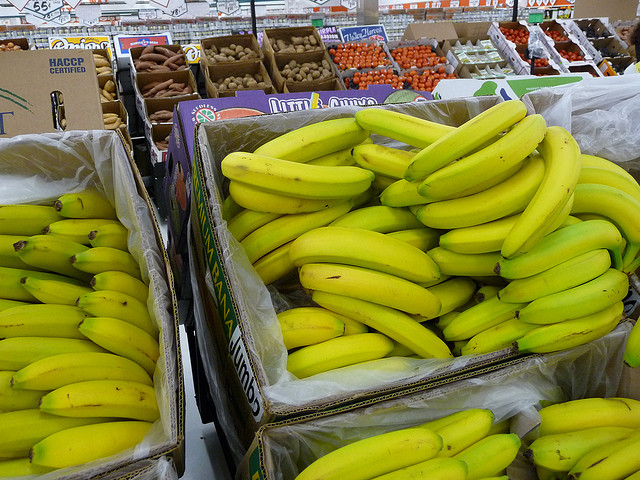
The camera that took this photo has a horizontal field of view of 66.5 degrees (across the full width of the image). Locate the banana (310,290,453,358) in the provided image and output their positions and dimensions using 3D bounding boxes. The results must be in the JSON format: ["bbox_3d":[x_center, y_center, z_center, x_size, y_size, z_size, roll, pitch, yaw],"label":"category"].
[{"bbox_3d":[0.163,0.244,1.414,0.325,0.066,0.083,24,-14,-15],"label":"banana"}]

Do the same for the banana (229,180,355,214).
[{"bbox_3d":[-0.072,-0.113,1.545,0.416,0.112,0.138,0,27,-6],"label":"banana"}]

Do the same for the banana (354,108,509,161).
[{"bbox_3d":[0.377,-0.371,1.540,0.549,0.170,0.144,4,40,10],"label":"banana"}]

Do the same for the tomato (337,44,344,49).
[{"bbox_3d":[0.188,-1.755,4.473,0.058,0.039,0.054,4,23,23],"label":"tomato"}]

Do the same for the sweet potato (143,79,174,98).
[{"bbox_3d":[-1.334,-1.235,4.031,0.294,0.077,0.080,-29,-2,4],"label":"sweet potato"}]

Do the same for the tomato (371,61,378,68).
[{"bbox_3d":[0.483,-1.532,4.294,0.059,0.060,0.060,4,15,17],"label":"tomato"}]

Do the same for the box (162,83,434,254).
[{"bbox_3d":[-0.262,-0.214,2.695,1.424,0.755,0.970,-5,-14,-11],"label":"box"}]

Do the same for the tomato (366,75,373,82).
[{"bbox_3d":[0.426,-1.350,4.130,0.052,0.052,0.035,-10,21,-12],"label":"tomato"}]

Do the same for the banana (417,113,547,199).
[{"bbox_3d":[0.498,-0.212,1.378,0.407,0.137,0.089,-32,-22,-1],"label":"banana"}]

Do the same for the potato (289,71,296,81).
[{"bbox_3d":[-0.216,-1.306,3.942,0.064,0.065,0.033,15,-14,-40],"label":"potato"}]

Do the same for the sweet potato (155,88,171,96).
[{"bbox_3d":[-1.305,-1.198,4.003,0.160,0.041,0.032,-29,-2,-27],"label":"sweet potato"}]

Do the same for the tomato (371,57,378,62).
[{"bbox_3d":[0.487,-1.588,4.331,0.041,0.042,0.041,-10,30,35],"label":"tomato"}]

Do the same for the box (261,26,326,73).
[{"bbox_3d":[-0.201,-1.587,4.281,0.580,0.343,0.574,-9,41,-13],"label":"box"}]

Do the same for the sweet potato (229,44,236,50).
[{"bbox_3d":[-0.748,-1.636,4.181,0.050,0.051,0.027,14,0,9],"label":"sweet potato"}]

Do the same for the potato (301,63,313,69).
[{"bbox_3d":[-0.108,-1.433,4.062,0.063,0.064,0.029,8,-29,-13],"label":"potato"}]

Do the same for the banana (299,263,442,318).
[{"bbox_3d":[0.137,0.151,1.424,0.434,0.118,0.106,8,28,13],"label":"banana"}]

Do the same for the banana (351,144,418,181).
[{"bbox_3d":[0.210,-0.259,1.596,0.198,0.097,0.071,19,37,8],"label":"banana"}]

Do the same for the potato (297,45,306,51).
[{"bbox_3d":[-0.157,-1.648,4.210,0.046,0.030,0.056,2,59,-14],"label":"potato"}]

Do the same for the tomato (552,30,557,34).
[{"bbox_3d":[2.473,-2.165,5.134,0.047,0.015,0.046,-41,33,8],"label":"tomato"}]

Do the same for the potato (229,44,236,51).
[{"bbox_3d":[-0.747,-1.638,4.185,0.058,0.032,0.058,-26,61,-15],"label":"potato"}]

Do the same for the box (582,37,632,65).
[{"bbox_3d":[3.012,-1.977,5.201,0.470,0.166,0.445,-10,58,-23],"label":"box"}]

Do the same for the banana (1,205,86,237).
[{"bbox_3d":[-0.863,-0.061,1.569,0.276,0.066,0.091,-2,21,-22],"label":"banana"}]

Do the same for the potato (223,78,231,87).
[{"bbox_3d":[-0.730,-1.225,3.868,0.061,0.046,0.045,-40,59,-7],"label":"potato"}]

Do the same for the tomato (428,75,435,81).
[{"bbox_3d":[0.992,-1.415,4.296,0.050,0.030,0.052,4,61,1],"label":"tomato"}]

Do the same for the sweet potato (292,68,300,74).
[{"bbox_3d":[-0.185,-1.363,3.978,0.046,0.047,0.023,7,-25,-5],"label":"sweet potato"}]

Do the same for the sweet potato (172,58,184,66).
[{"bbox_3d":[-1.252,-1.567,4.335,0.064,0.063,0.126,-1,21,12],"label":"sweet potato"}]

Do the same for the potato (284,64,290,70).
[{"bbox_3d":[-0.268,-1.419,4.043,0.036,0.036,0.041,-3,0,-5],"label":"potato"}]

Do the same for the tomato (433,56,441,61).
[{"bbox_3d":[1.098,-1.680,4.537,0.058,0.047,0.048,1,40,-3],"label":"tomato"}]

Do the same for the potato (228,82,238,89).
[{"bbox_3d":[-0.682,-1.191,3.801,0.065,0.050,0.049,15,0,-21],"label":"potato"}]

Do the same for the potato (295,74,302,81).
[{"bbox_3d":[-0.171,-1.292,3.920,0.046,0.025,0.039,40,73,15],"label":"potato"}]

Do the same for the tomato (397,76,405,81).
[{"bbox_3d":[0.712,-1.384,4.242,0.042,0.043,0.041,-23,-33,29],"label":"tomato"}]

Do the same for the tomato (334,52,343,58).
[{"bbox_3d":[0.170,-1.658,4.417,0.061,0.062,0.020,3,-25,-9],"label":"tomato"}]

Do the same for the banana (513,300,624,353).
[{"bbox_3d":[0.703,0.246,1.405,0.256,0.055,0.092,-18,26,-4],"label":"banana"}]

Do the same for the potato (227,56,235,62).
[{"bbox_3d":[-0.734,-1.466,3.986,0.035,0.034,0.062,-1,25,2],"label":"potato"}]

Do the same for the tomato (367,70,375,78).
[{"bbox_3d":[0.438,-1.408,4.163,0.056,0.057,0.058,-5,3,15],"label":"tomato"}]

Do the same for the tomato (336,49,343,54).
[{"bbox_3d":[0.180,-1.704,4.449,0.055,0.057,0.031,4,-8,3],"label":"tomato"}]

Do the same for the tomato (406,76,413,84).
[{"bbox_3d":[0.792,-1.398,4.302,0.054,0.054,0.076,0,21,14],"label":"tomato"}]

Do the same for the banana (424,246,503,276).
[{"bbox_3d":[0.429,0.069,1.486,0.278,0.078,0.096,1,16,0],"label":"banana"}]

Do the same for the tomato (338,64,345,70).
[{"bbox_3d":[0.191,-1.493,4.289,0.051,0.050,0.061,-12,-19,-1],"label":"tomato"}]

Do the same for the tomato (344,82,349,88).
[{"bbox_3d":[0.234,-1.316,4.178,0.046,0.047,0.048,1,30,-6],"label":"tomato"}]

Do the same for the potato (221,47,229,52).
[{"bbox_3d":[-0.814,-1.613,4.168,0.068,0.070,0.023,-3,-23,-5],"label":"potato"}]

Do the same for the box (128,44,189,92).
[{"bbox_3d":[-1.511,-1.504,4.456,0.504,0.512,0.305,-6,-23,-14],"label":"box"}]
